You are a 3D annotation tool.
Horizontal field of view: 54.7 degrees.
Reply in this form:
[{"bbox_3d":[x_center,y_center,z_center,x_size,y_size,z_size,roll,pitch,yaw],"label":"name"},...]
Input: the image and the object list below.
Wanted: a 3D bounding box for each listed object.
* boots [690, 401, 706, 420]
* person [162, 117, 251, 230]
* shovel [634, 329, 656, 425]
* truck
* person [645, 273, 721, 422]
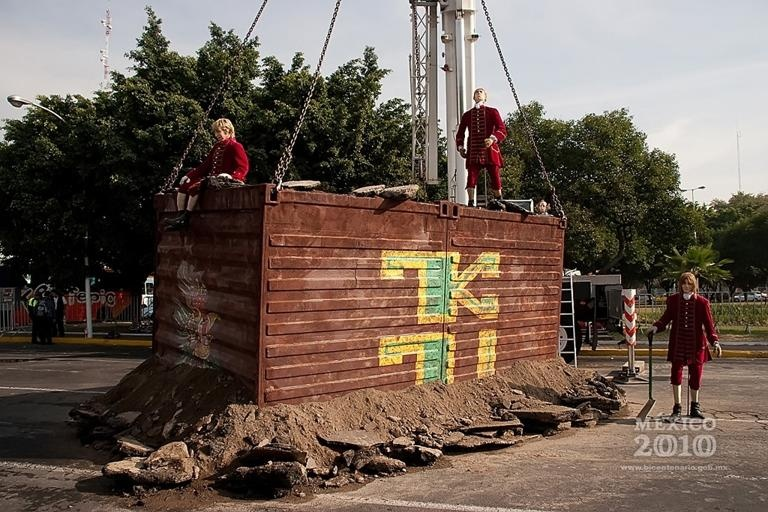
[{"bbox_3d":[6.296,3.060,14.925,0.393,0.317,0.321,3,-3,-20],"label":"boots"},{"bbox_3d":[-3.357,-1.577,14.064,1.404,2.146,0.675,1,-2,12],"label":"person"},{"bbox_3d":[5.481,2.353,15.640,0.338,1.667,1.436,-3,3,28],"label":"shovel"},{"bbox_3d":[6.326,2.122,23.440,2.179,1.502,1.610,-12,5,-35],"label":"truck"},{"bbox_3d":[6.182,1.784,15.235,1.136,2.890,0.770,1,-2,22],"label":"person"}]
